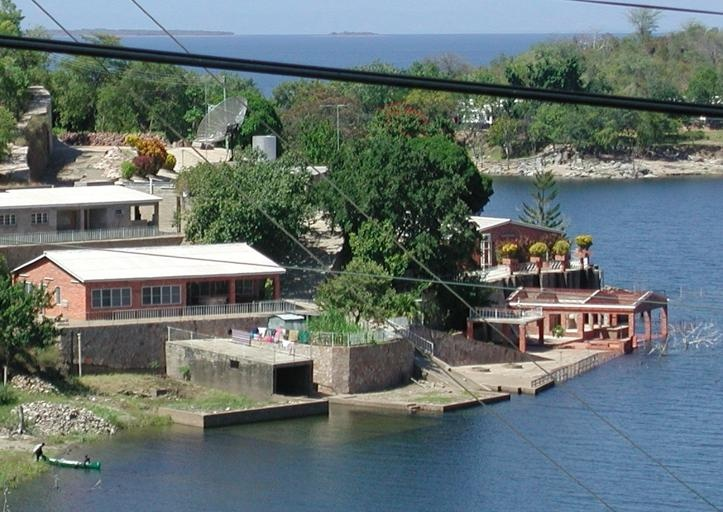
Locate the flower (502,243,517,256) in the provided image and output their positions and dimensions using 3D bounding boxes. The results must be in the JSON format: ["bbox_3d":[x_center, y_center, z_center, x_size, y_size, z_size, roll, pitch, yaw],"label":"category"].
[{"bbox_3d":[12.157,-0.588,140.598,0.890,1.155,1.040,-1,18,-4],"label":"flower"}]

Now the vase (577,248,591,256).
[{"bbox_3d":[19.034,-0.241,146.876,0.721,0.554,0.796,-1,1,-9],"label":"vase"}]

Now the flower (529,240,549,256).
[{"bbox_3d":[14.661,-0.558,142.059,1.048,1.267,1.193,-1,7,15],"label":"flower"}]

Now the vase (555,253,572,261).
[{"bbox_3d":[17.021,0.149,144.471,1.577,0.507,0.652,-9,2,-42],"label":"vase"}]

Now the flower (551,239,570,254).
[{"bbox_3d":[16.858,-0.707,144.691,1.059,1.358,1.091,-8,6,-13],"label":"flower"}]
